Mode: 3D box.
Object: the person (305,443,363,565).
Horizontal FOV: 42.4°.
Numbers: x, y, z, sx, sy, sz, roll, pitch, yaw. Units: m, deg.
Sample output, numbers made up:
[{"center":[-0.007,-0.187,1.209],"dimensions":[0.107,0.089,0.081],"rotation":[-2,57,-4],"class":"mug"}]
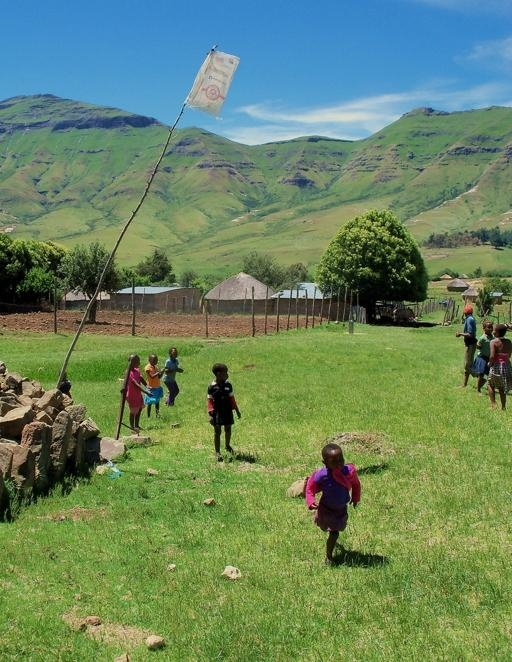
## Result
[{"center":[0.942,2.162,8.383],"dimensions":[0.487,1.334,0.605],"rotation":[2,1,40],"class":"person"}]
